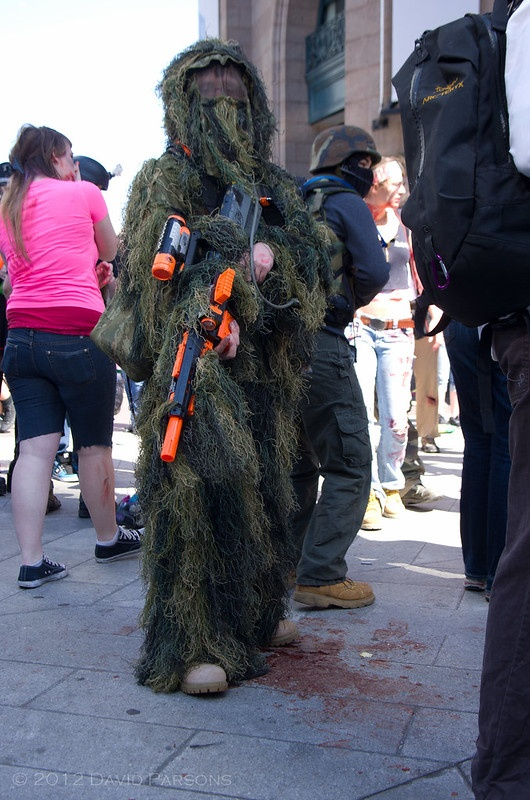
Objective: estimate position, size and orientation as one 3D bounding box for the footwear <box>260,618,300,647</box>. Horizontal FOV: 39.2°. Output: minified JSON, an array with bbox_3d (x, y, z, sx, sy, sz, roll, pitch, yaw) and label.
[{"bbox_3d":[0.057,0.809,2.639,0.065,0.097,0.141,3,7,24],"label":"footwear"}]

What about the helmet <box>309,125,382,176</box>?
[{"bbox_3d":[0.332,-1.074,3.330,0.285,0.208,0.219,18,-7,-10],"label":"helmet"}]

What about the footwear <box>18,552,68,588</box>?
[{"bbox_3d":[-1.004,0.773,3.404,0.085,0.108,0.251,4,7,29],"label":"footwear"}]

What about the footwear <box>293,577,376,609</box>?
[{"bbox_3d":[0.288,0.807,3.128,0.291,0.130,0.134,-1,0,-8],"label":"footwear"}]
